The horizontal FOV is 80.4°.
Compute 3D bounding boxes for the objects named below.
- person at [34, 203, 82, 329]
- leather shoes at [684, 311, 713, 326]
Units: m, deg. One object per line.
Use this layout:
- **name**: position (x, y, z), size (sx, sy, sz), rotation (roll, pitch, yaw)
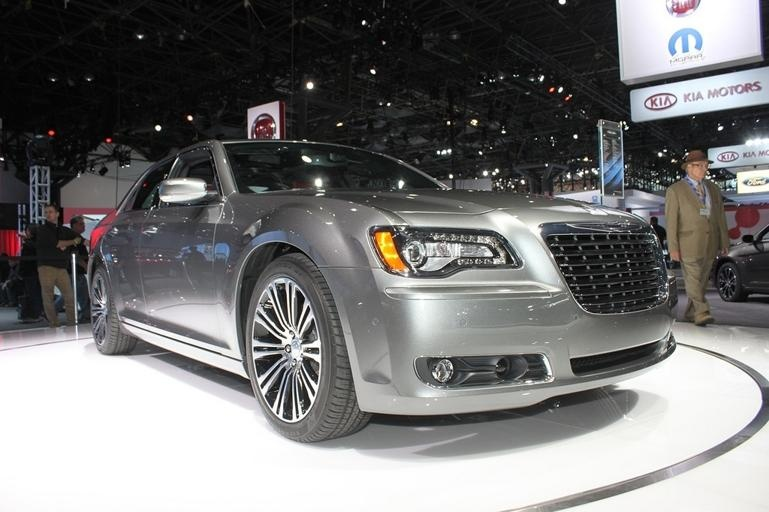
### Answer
- **person**: position (-4.994, 0.127, 7.022), size (0.589, 1.889, 1.446), rotation (-5, 6, -37)
- **leather shoes**: position (3.786, 0.752, 5.552), size (0.153, 0.179, 0.402), rotation (0, -1, -28)
